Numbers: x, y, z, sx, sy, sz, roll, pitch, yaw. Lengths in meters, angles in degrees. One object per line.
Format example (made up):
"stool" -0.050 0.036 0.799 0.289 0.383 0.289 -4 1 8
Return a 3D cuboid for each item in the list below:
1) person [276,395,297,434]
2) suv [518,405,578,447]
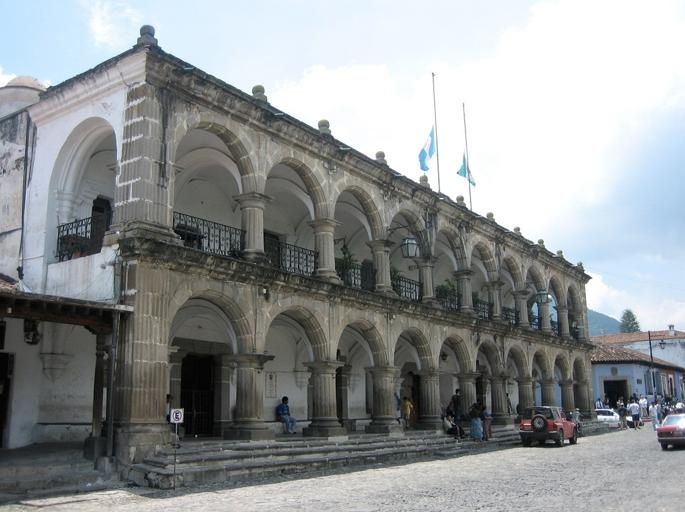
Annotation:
"person" -2.157 5.961 20.731 0.614 1.377 0.950 3 -19 -16
"suv" 8.671 7.082 23.287 1.566 1.402 2.810 -8 -13 32
